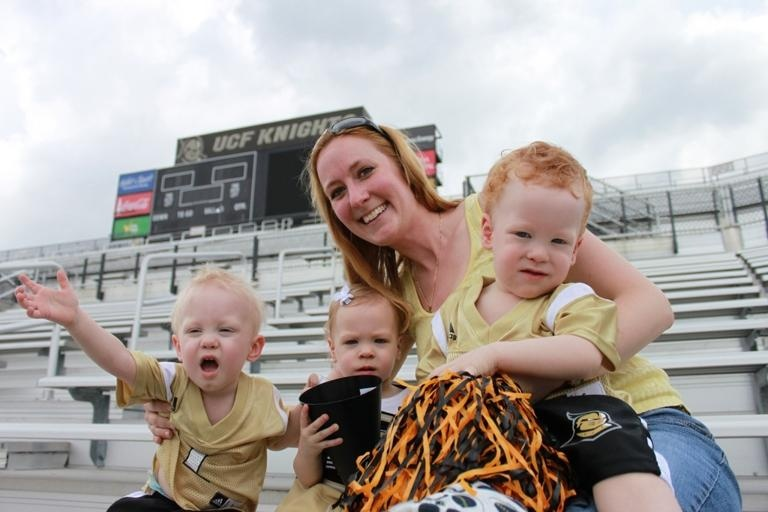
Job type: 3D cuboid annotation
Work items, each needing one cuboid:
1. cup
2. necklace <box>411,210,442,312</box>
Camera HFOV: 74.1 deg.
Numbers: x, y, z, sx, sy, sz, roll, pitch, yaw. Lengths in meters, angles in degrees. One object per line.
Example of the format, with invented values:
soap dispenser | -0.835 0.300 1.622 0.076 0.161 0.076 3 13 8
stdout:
cup | -0.142 0.615 1.822 0.294 0.348 0.194 -7 -23 9
necklace | 0.195 0.009 2.244 0.091 0.374 0.217 9 -17 -43
